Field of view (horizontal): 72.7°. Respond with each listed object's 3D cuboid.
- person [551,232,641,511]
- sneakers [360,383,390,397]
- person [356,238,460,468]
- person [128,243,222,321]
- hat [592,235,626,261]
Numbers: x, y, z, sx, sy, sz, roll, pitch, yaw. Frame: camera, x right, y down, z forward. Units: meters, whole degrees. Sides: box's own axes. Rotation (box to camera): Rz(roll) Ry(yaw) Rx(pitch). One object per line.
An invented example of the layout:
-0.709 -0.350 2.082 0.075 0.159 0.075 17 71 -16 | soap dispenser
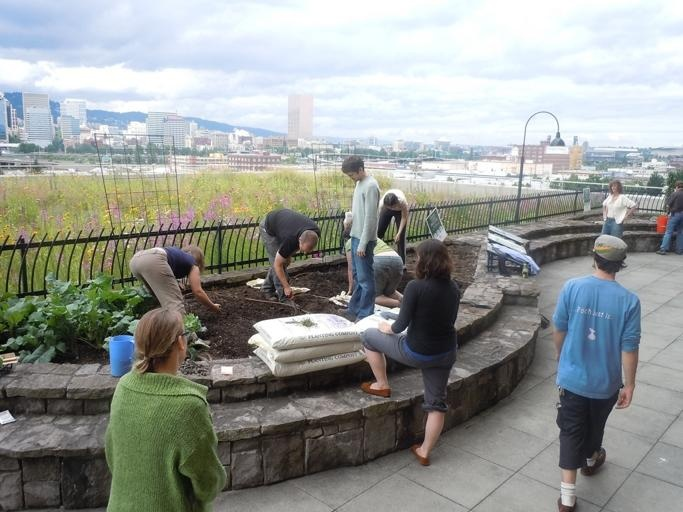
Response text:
1.953 0.921 3.590 0.580 2.112 0.532 0 13 3 | person
0.321 1.227 4.307 0.249 0.085 0.100 5 3 37 | sneakers
0.593 0.848 3.988 0.727 2.016 0.428 5 14 21 | person
-1.742 0.160 5.058 0.681 0.992 0.808 11 23 36 | person
2.022 -0.056 3.551 0.212 0.121 0.215 18 17 37 | hat
